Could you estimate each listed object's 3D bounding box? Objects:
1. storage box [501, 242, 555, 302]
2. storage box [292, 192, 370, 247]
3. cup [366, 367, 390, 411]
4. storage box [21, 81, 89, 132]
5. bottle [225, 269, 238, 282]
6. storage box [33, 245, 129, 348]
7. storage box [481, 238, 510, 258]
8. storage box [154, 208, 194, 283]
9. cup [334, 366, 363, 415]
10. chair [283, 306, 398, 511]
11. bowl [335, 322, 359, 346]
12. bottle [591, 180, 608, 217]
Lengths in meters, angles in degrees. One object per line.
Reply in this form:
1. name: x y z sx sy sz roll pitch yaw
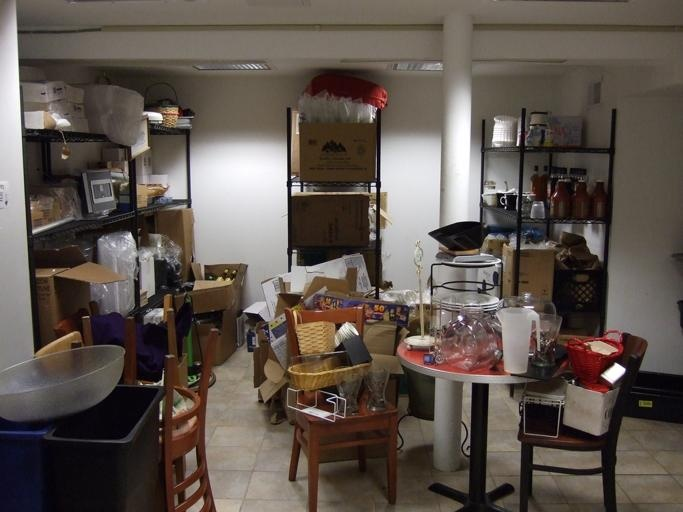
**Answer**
1. storage box: 1.499 0.133 4.504 0.429 0.436 0.339 3 10 26
2. storage box: -0.077 -0.252 4.344 0.431 0.307 0.460 0 3 -2
3. cup: 0.193 0.719 3.075 0.155 0.279 0.184 0 -1 3
4. storage box: -1.923 -1.004 3.739 0.246 0.330 0.659 0 9 4
5. bottle: -1.147 0.173 5.732 0.104 0.051 0.148 -2 28 -5
6. storage box: -1.619 0.239 3.597 0.604 0.474 0.605 -5 12 -26
7. storage box: 1.404 -0.091 5.130 0.270 0.181 0.286 0 -22 3
8. storage box: -1.681 -0.199 5.672 0.284 0.589 0.212 5 14 21
9. cup: 0.059 0.692 2.929 0.080 0.248 0.168 7 12 44
10. chair: -0.006 0.821 3.207 0.631 1.108 0.713 -2 9 -7
11. bowl: 0.021 0.434 3.042 0.106 0.123 0.160 -3 9 -16
12. bottle: 2.017 -0.440 4.337 0.120 0.293 0.097 0 8 7
